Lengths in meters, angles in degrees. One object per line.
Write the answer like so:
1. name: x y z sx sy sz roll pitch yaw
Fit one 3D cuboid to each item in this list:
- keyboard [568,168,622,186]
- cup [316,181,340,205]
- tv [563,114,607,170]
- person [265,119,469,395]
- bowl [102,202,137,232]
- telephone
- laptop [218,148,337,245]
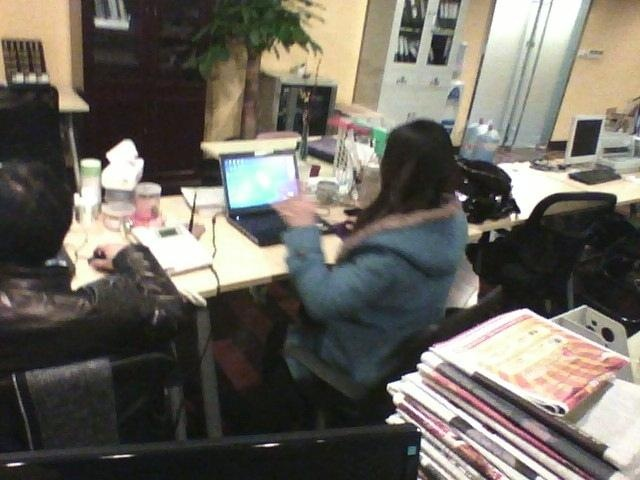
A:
1. keyboard: 1.652 -0.381 3.042 0.253 0.034 0.166 -13 27 -26
2. cup: 0.029 -0.190 2.016 0.091 0.088 0.089 3 22 -1
3. tv: 1.620 -0.582 3.092 0.332 0.307 0.046 -16 25 -33
4. person: 0.141 0.049 1.303 0.464 0.708 0.253 4 24 -1
5. bowl: -0.652 -0.081 1.651 0.104 0.061 0.103 2 22 -1
6. telephone: -0.460 0.083 1.560 0.201 0.081 0.279 -14 53 -43
7. laptop: -0.153 -0.184 1.700 0.320 0.300 0.234 -12 23 -39
